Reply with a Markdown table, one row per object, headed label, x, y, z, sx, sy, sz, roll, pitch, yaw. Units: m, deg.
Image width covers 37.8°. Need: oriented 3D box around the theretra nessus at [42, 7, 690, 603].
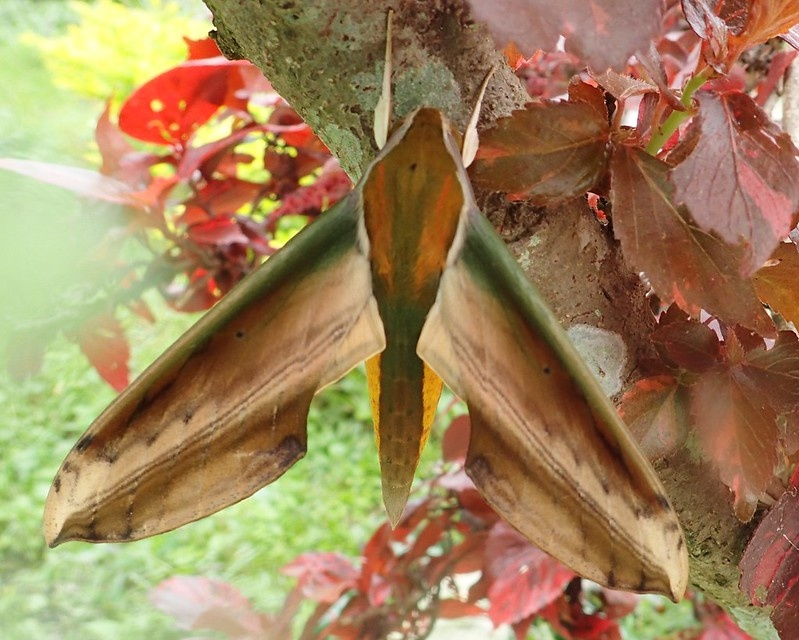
| label | x | y | z | sx | sy | sz | roll | pitch | yaw |
| --- | --- | --- | --- | --- | --- | --- | --- | --- | --- |
| theretra nessus | 0.004 | 0.047 | 1.533 | 0.850 | 0.626 | 0.192 | 10 | 20 | 0 |
